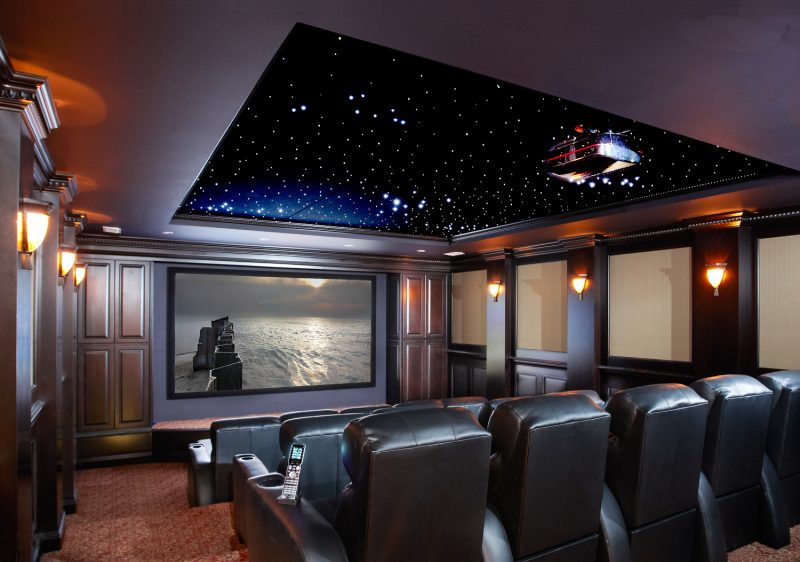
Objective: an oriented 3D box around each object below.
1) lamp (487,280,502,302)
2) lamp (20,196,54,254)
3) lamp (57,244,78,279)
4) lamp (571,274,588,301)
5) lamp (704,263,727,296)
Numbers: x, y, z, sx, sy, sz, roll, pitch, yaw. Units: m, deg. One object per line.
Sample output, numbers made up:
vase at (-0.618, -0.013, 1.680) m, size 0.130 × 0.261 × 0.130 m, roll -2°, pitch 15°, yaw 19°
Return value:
lamp at (1.551, 0.157, 8.462) m, size 0.061 × 0.348 × 0.255 m, roll 3°, pitch -5°, yaw -40°
lamp at (-2.383, -0.337, 3.362) m, size 0.250 × 0.332 × 0.262 m, roll 1°, pitch -3°, yaw -13°
lamp at (-3.100, -0.183, 4.893) m, size 0.111 × 0.347 × 0.519 m, roll 2°, pitch -5°, yaw -31°
lamp at (2.457, 0.079, 7.188) m, size 0.099 × 0.340 × 0.281 m, roll 1°, pitch -4°, yaw -24°
lamp at (3.501, -0.010, 5.774) m, size 0.082 × 0.348 × 0.168 m, roll 2°, pitch -4°, yaw -31°
